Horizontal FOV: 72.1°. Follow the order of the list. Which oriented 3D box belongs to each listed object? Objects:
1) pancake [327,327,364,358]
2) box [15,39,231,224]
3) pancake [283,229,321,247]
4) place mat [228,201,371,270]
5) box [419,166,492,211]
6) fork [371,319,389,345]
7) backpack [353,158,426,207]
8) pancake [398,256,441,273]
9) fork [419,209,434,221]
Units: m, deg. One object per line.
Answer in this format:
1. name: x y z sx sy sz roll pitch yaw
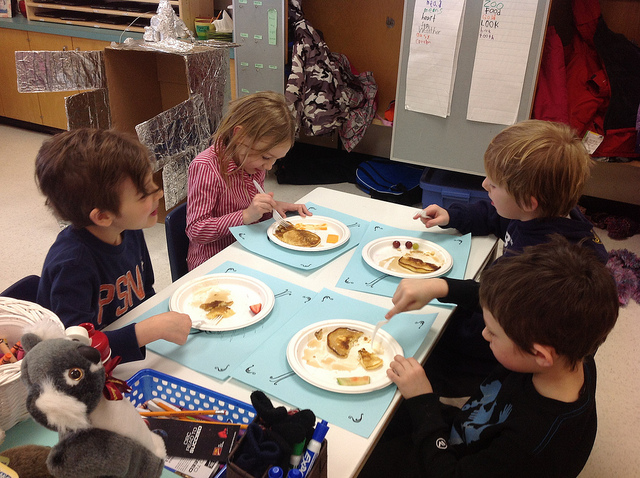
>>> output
1. pancake: 0.060 0.277 1.235 0.085 0.125 0.020 23 41 -13
2. box: -1.174 -0.657 3.006 0.937 1.303 1.012 11 29 17
3. pancake: -0.077 -0.006 1.692 0.093 0.017 0.075 7 38 -4
4. place mat: -0.140 -0.002 1.637 0.288 0.048 0.343 24 38 30
5. box: 1.016 -0.378 3.392 0.485 0.235 0.586 8 30 12
6. fork: 0.169 0.249 1.254 0.015 0.103 0.015 34 -2 -18
7. backpack: 0.556 -0.491 3.939 0.571 0.207 0.527 -1 32 -29
8. pancake: 0.349 0.089 1.562 0.095 0.017 0.064 19 34 21
9. fork: 0.438 -0.101 1.799 0.025 0.030 0.052 -21 -3 -28
